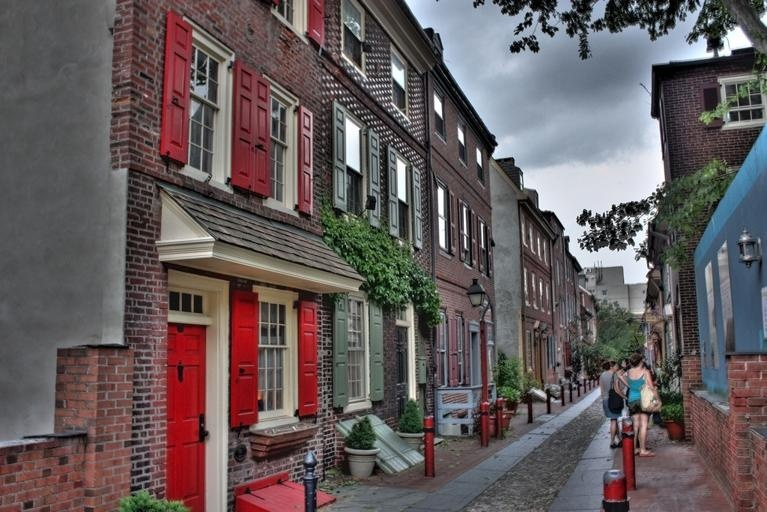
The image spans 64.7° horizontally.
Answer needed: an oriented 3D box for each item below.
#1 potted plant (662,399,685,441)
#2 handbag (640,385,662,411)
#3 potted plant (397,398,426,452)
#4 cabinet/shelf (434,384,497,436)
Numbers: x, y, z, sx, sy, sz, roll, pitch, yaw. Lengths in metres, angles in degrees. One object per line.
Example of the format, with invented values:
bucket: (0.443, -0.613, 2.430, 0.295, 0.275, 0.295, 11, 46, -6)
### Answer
potted plant: (7.906, 4.487, 16.514, 0.630, 1.127, 0.358, 7, 2, 28)
handbag: (6.218, 3.282, 14.052, 0.453, 0.703, 0.214, 6, 2, 0)
potted plant: (0.754, 4.235, 15.535, 0.631, 1.160, 0.598, 5, -15, -41)
cabinet/shelf: (2.515, 4.802, 18.633, 1.051, 1.342, 1.708, 11, -19, -34)
